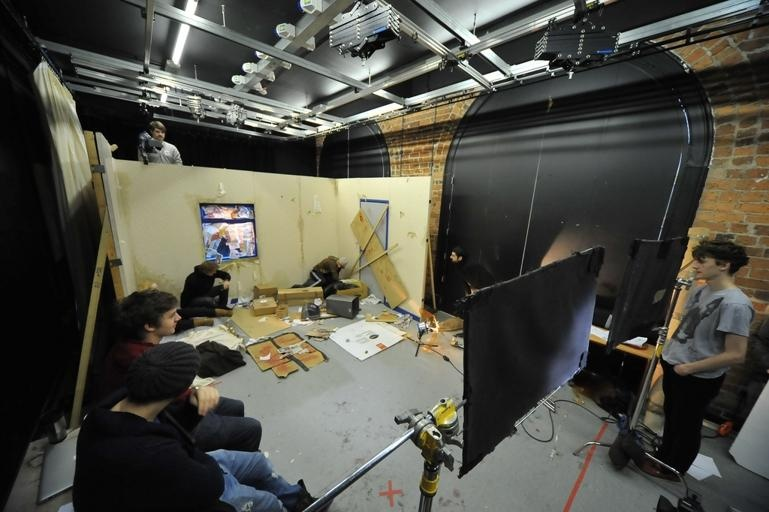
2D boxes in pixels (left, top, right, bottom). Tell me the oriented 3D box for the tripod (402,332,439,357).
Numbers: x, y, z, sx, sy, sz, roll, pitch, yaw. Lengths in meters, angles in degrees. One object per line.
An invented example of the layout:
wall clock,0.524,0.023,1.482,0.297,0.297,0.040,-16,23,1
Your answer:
tripod,0.512,1.176,6.002,0.423,0.115,0.475,-1,11,-17

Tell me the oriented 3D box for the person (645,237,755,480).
person,3.093,1.027,4.399,0.666,2.334,0.442,7,12,23

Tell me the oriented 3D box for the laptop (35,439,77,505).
laptop,-3.236,2.103,4.463,0.291,0.395,0.461,-4,12,-27

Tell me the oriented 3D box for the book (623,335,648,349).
book,2.837,0.956,5.026,0.268,0.096,0.122,1,11,-6

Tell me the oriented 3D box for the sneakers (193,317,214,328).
sneakers,-2.479,0.908,6.161,0.179,0.055,0.130,6,7,10

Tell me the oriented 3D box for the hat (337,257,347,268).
hat,-0.713,0.123,7.645,0.123,0.143,0.167,10,37,-14

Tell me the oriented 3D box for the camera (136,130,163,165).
camera,-3.131,-1.435,6.022,0.571,0.357,0.223,-1,8,40
